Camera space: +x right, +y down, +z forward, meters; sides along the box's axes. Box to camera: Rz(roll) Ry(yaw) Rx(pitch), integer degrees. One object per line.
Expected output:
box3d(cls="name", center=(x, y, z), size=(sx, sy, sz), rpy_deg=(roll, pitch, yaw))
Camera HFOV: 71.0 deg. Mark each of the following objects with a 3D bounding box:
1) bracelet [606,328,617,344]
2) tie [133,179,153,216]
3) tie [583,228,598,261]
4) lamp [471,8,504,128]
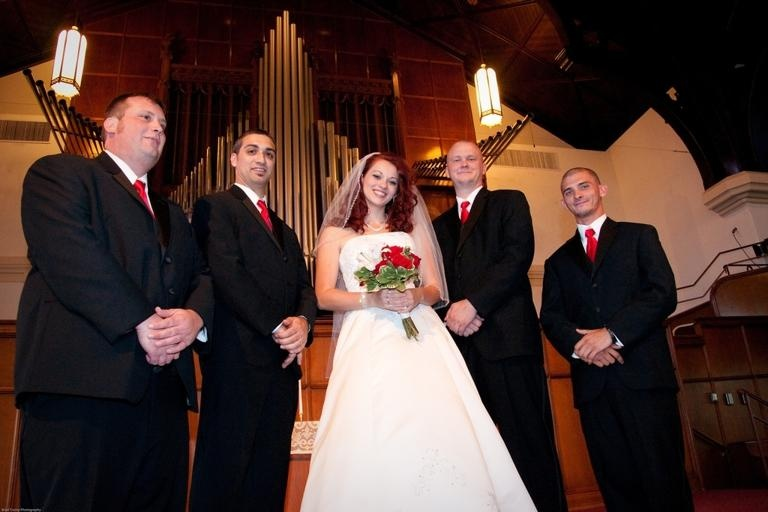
box3d(cls="bracelet", center=(1.581, 0.563, 3.697), size=(0.093, 0.136, 0.033), rpy_deg=(0, -8, 10))
box3d(cls="tie", center=(-1.417, -0.354, 3.196), size=(0.041, 0.073, 0.364), rpy_deg=(18, 25, -33))
box3d(cls="tie", center=(1.559, -0.092, 4.066), size=(0.066, 0.282, 0.039), rpy_deg=(-23, -50, 29))
box3d(cls="lamp", center=(1.387, -2.207, 7.224), size=(0.303, 0.968, 0.368), rpy_deg=(7, -10, -34))
